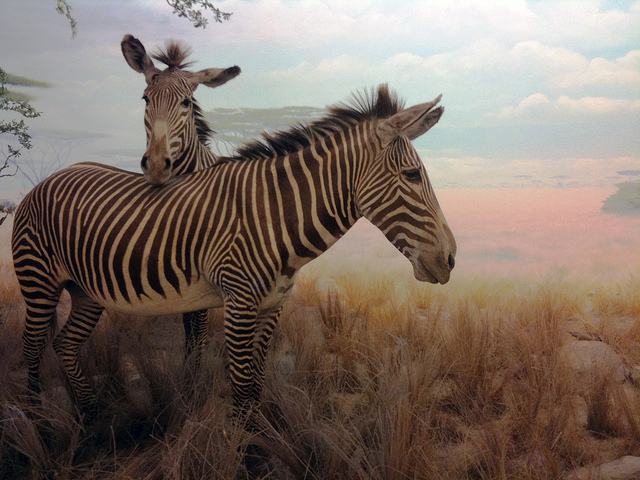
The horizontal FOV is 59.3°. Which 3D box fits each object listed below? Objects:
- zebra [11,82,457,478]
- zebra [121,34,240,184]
[{"bbox_3d":[-0.688,0.168,4.079,3.069,2.567,0.898,5,14,13],"label":"zebra"},{"bbox_3d":[-1.364,-0.927,5.704,0.853,1.687,2.253,6,-1,-5],"label":"zebra"}]
